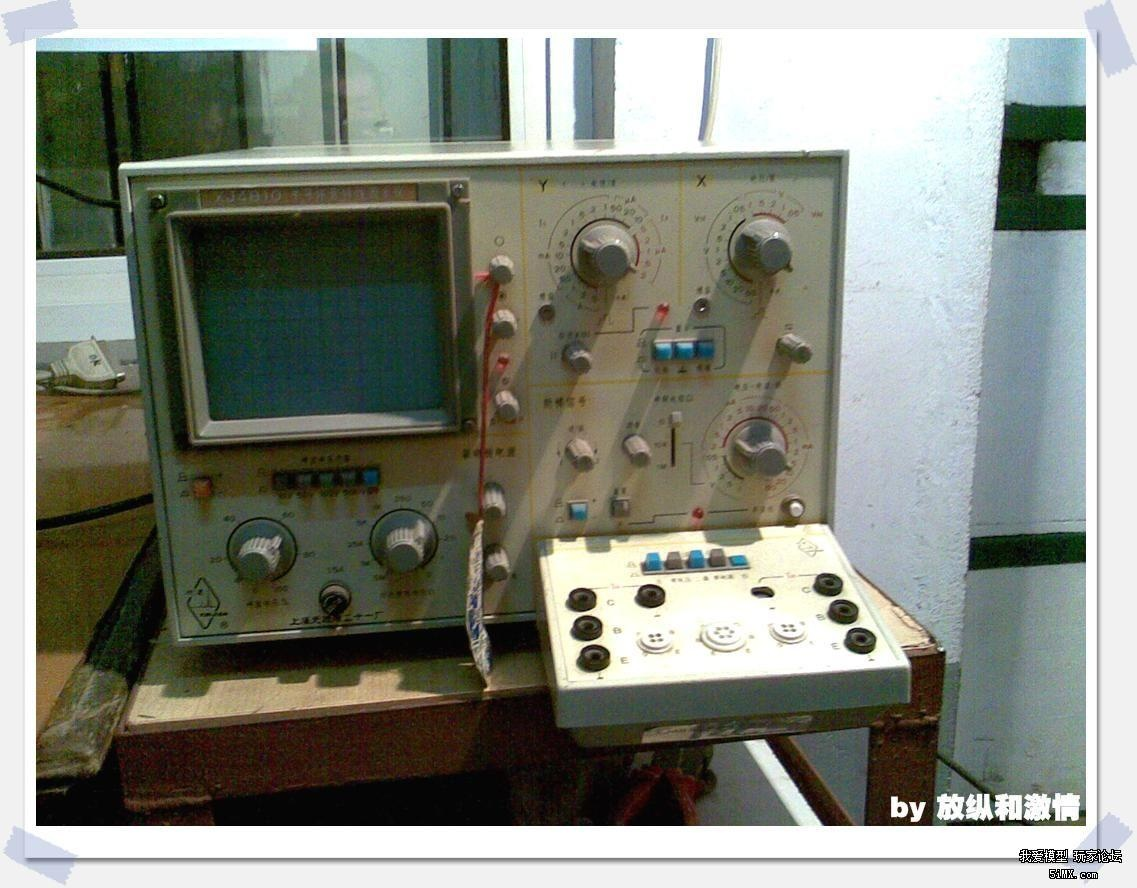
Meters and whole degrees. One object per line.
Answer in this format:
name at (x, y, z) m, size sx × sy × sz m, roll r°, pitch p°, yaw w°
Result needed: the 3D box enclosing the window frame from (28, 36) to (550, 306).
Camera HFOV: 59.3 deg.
window frame at (-0.579, -0.817, 2.347) m, size 0.759 × 0.186 × 0.874 m, roll -15°, pitch 36°, yaw 5°
